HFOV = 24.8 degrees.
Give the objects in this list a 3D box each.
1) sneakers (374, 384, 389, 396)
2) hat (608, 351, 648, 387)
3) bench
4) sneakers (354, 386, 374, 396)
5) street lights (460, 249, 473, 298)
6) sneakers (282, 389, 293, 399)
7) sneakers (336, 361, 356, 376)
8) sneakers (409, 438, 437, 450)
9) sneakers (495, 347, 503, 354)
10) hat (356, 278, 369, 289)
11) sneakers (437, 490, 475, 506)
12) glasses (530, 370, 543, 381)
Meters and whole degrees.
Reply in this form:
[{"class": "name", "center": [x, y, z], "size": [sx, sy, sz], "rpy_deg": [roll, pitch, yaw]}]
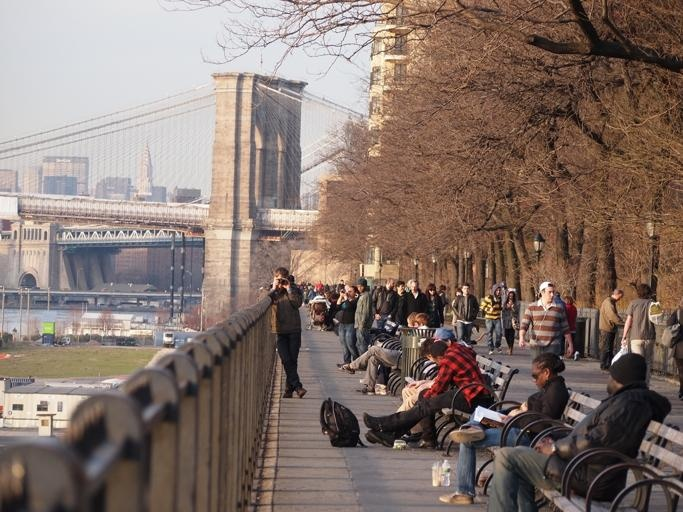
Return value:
[{"class": "sneakers", "center": [0.914, 2.937, 34.638], "size": [0.163, 0.230, 0.513], "rpy_deg": [1, -9, -1]}, {"class": "hat", "center": [5.029, 1.952, 26.943], "size": [0.456, 0.494, 0.621], "rpy_deg": [1, 43, -7]}, {"class": "bench", "center": [3.292, 2.941, 28.094], "size": [5.106, 2.077, 2.177], "rpy_deg": [-5, -4, 45]}, {"class": "sneakers", "center": [0.561, 2.969, 34.780], "size": [0.408, 0.192, 0.158], "rpy_deg": [8, 6, 33]}, {"class": "street lights", "center": [5.397, 0.654, 65.654], "size": [0.504, 2.123, 0.511], "rpy_deg": [-3, 1, -26]}, {"class": "sneakers", "center": [-1.166, 2.981, 34.158], "size": [0.161, 0.325, 0.130], "rpy_deg": [5, 5, 23]}, {"class": "sneakers", "center": [0.090, 2.671, 37.884], "size": [0.560, 0.239, 0.201], "rpy_deg": [28, 20, 36]}, {"class": "sneakers", "center": [1.616, 3.604, 30.169], "size": [0.535, 0.253, 0.201], "rpy_deg": [4, -3, 8]}, {"class": "sneakers", "center": [4.613, 2.683, 45.173], "size": [0.114, 0.168, 0.354], "rpy_deg": [-1, -6, 4]}, {"class": "hat", "center": [0.534, 0.630, 38.737], "size": [0.177, 0.204, 0.253], "rpy_deg": [-1, -7, 7]}, {"class": "sneakers", "center": [2.104, 4.324, 28.046], "size": [0.458, 0.203, 0.268], "rpy_deg": [6, -3, 8]}, {"class": "glasses", "center": [3.687, 2.177, 28.747], "size": [0.144, 0.166, 0.052], "rpy_deg": [6, 22, 39]}]
